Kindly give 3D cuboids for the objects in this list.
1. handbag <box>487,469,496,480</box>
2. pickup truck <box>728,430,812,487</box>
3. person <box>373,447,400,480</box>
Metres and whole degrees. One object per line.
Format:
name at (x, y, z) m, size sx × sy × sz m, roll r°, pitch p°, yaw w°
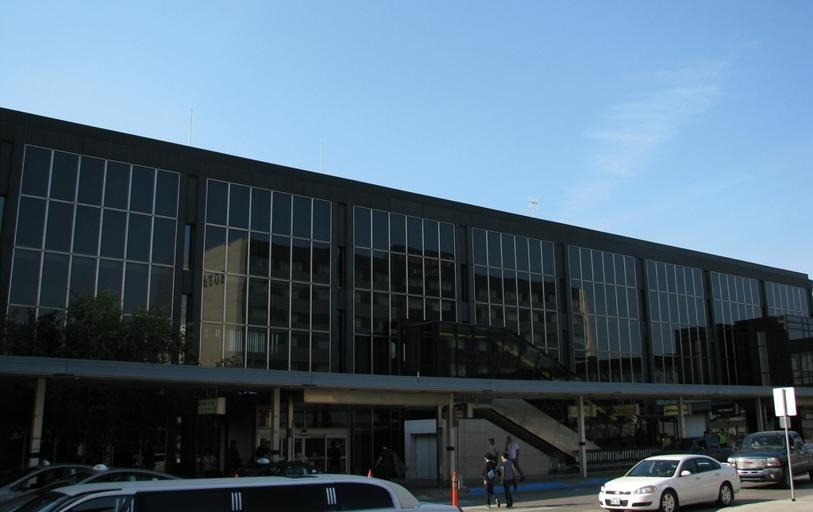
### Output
handbag at (3.834, 9.870, 31.691) m, size 0.497 × 0.474 × 0.370 m, roll 23°, pitch -31°, yaw -31°
pickup truck at (17.956, 9.857, 34.334) m, size 4.148 × 2.479 × 2.089 m, roll 3°, pitch -17°, yaw -25°
person at (-0.672, 10.817, 35.926) m, size 1.037 × 1.381 × 1.443 m, roll -11°, pitch -27°, yaw 5°
